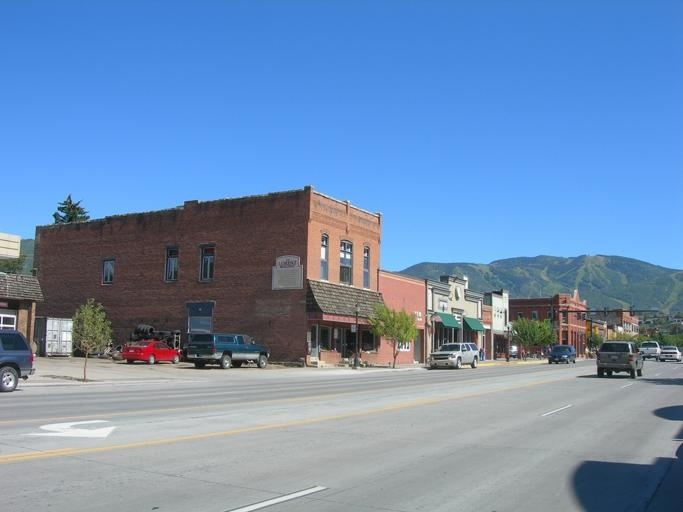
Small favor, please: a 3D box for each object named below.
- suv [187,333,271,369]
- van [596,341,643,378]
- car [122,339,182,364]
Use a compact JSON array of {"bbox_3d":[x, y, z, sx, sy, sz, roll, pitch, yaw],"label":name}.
[{"bbox_3d":[-7.387,6.252,42.040,2.640,2.220,5.412,-7,-11,43],"label":"suv"},{"bbox_3d":[15.706,5.877,36.271,2.103,2.058,2.239,-4,-9,27],"label":"van"},{"bbox_3d":[-12.788,6.471,43.586,1.607,1.201,3.573,-1,-4,34],"label":"car"}]
